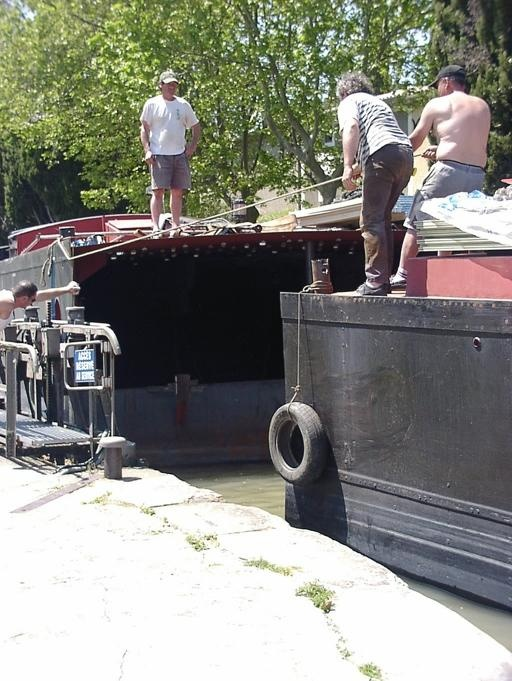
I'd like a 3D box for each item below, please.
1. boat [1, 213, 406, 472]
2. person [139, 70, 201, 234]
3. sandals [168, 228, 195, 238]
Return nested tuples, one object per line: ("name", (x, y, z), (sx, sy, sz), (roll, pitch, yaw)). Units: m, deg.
("boat", (-0.706, -0.013, 12.894), (2.328, 1.853, 4.838), (-1, -1, -19))
("person", (-0.831, -1.805, 10.539), (0.443, 1.498, 0.610), (4, 6, 25))
("sandals", (-0.700, -1.026, 10.386), (0.155, 0.077, 0.213), (1, -2, -20))
